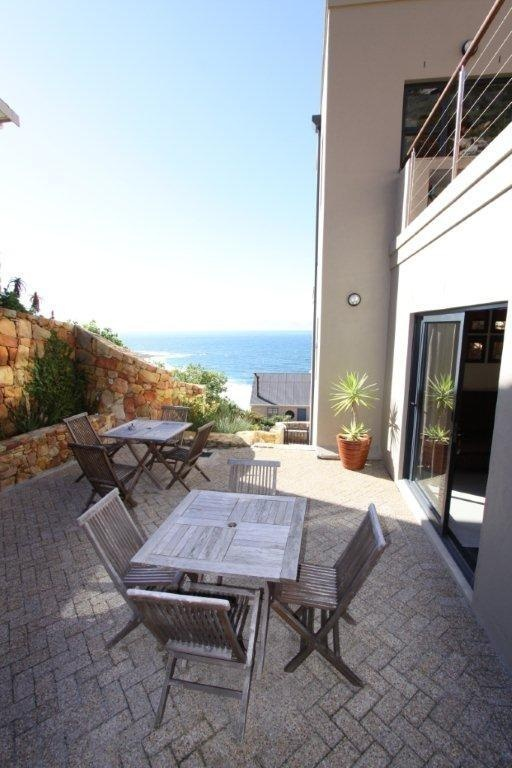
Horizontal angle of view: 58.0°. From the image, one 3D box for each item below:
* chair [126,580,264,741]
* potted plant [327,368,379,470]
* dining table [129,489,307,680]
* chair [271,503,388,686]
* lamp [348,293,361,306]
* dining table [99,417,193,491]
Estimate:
[{"bbox_3d":[-0.267,1.409,2.722,0.563,0.929,0.728,2,18,19],"label":"chair"},{"bbox_3d":[1.437,0.544,6.975,0.718,1.339,0.918,1,11,14],"label":"potted plant"},{"bbox_3d":[-0.164,1.164,3.157,0.931,0.628,1.005,2,17,10],"label":"dining table"},{"bbox_3d":[0.468,1.321,2.983,0.656,1.109,0.732,1,11,16],"label":"chair"},{"bbox_3d":[1.464,-1.260,6.950,0.180,0.185,0.048,13,16,25],"label":"lamp"},{"bbox_3d":[-1.409,0.667,6.081,0.748,0.717,1.300,3,14,4],"label":"dining table"}]
